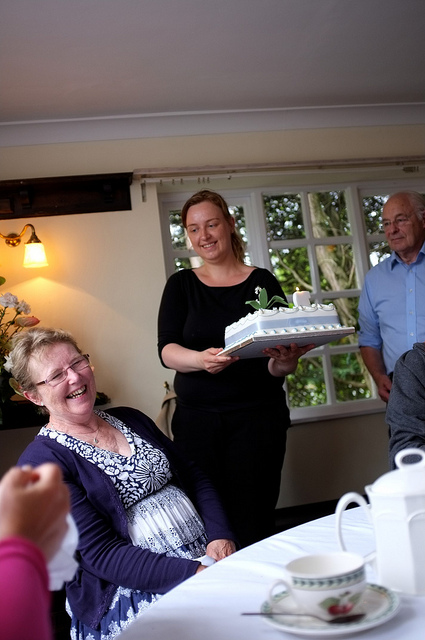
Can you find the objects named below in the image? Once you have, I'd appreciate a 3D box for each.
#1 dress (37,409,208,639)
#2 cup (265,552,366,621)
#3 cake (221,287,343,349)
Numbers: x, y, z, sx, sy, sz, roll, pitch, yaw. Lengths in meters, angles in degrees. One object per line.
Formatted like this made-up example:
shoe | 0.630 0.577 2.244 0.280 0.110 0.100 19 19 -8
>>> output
dress | -0.218 0.535 1.368 0.389 0.561 0.398 -15 -8 41
cup | 0.121 0.295 0.537 0.103 0.046 0.075 -9 1 -10
cake | 0.286 -0.022 1.798 0.456 0.132 0.441 0 4 38
